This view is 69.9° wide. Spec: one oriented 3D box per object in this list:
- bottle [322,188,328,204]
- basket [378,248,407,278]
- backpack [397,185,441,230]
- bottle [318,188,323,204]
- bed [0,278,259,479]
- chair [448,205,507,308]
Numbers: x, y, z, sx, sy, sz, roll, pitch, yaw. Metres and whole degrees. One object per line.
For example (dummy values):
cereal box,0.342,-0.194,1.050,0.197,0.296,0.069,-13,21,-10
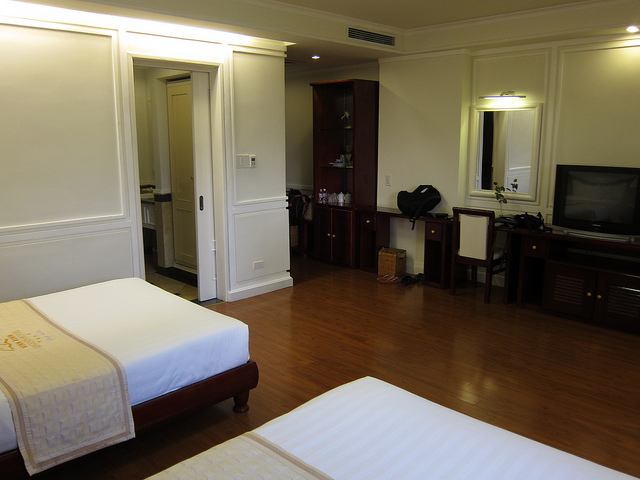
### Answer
bottle,0.085,-0.733,7.525,0.083,0.218,0.201,1,14,0
basket,1.096,0.292,6.917,0.385,0.383,0.381,13,20,38
backpack,1.378,-0.493,6.611,0.617,0.597,0.399,11,18,35
bottle,0.008,-0.738,7.522,0.073,0.224,0.107,0,14,-1
bed,-1.175,0.793,3.373,1.172,0.497,1.245,-15,24,-41
chair,2.074,0.151,6.017,0.717,1.177,0.870,6,15,19
